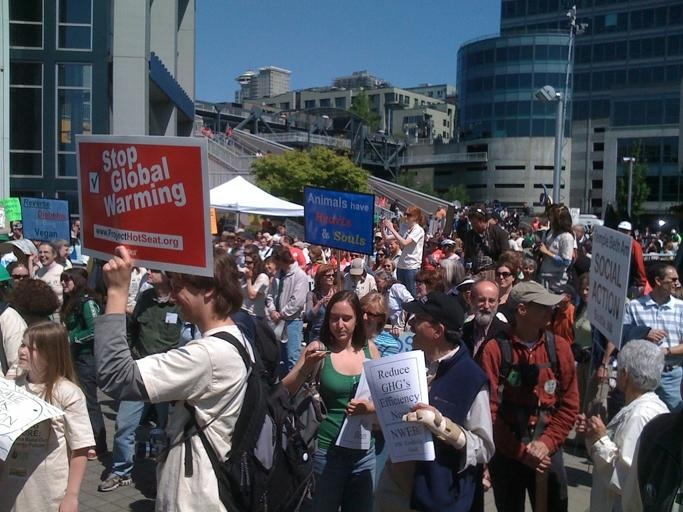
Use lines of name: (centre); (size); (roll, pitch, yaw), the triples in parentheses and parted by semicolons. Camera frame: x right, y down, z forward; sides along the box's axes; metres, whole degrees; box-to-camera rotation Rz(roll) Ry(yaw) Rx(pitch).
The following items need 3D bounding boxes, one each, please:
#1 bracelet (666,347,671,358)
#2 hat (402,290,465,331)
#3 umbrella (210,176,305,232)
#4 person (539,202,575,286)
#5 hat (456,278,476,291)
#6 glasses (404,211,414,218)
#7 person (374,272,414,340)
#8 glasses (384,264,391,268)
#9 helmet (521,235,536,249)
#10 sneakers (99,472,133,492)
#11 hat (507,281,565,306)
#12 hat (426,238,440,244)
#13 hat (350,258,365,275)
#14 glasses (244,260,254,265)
bracelet: (3.684, 1.109, 9.027); (0.080, 0.099, 0.061); (2, 5, 5)
hat: (0.784, 0.471, 6.741); (0.555, 0.325, 0.441); (13, 1, -3)
umbrella: (-2.561, -1.606, 22.103); (2.992, 1.052, 1.217); (-3, 7, -43)
person: (3.342, -0.118, 12.474); (0.542, 1.307, 1.134); (3, 5, 15)
hat: (1.487, 0.361, 9.568); (0.200, 0.181, 0.510); (3, 6, 9)
glasses: (1.202, -0.727, 14.395); (0.115, 0.109, 0.244); (-1, 6, -26)
person: (0.669, 0.673, 10.422); (0.309, 0.420, 0.878); (-28, 55, -21)
glasses: (0.796, 0.206, 13.877); (0.061, 0.063, 0.076); (-1, -7, 20)
helmet: (4.055, -0.270, 17.350); (0.255, 0.163, 0.374); (-8, -1, -14)
sneakers: (-2.554, 2.573, 9.064); (0.145, 0.161, 0.338); (-2, -5, 42)
hat: (1.739, 0.358, 7.206); (0.347, 0.166, 0.247); (0, 7, 21)
hat: (1.847, -0.283, 16.273); (0.192, 0.116, 0.282); (-1, -1, 10)
hat: (0.252, 0.207, 12.834); (0.202, 0.275, 0.369); (2, 5, -1)
glasses: (-1.532, 0.135, 13.189); (0.075, 0.067, 0.079); (1, -3, -17)
